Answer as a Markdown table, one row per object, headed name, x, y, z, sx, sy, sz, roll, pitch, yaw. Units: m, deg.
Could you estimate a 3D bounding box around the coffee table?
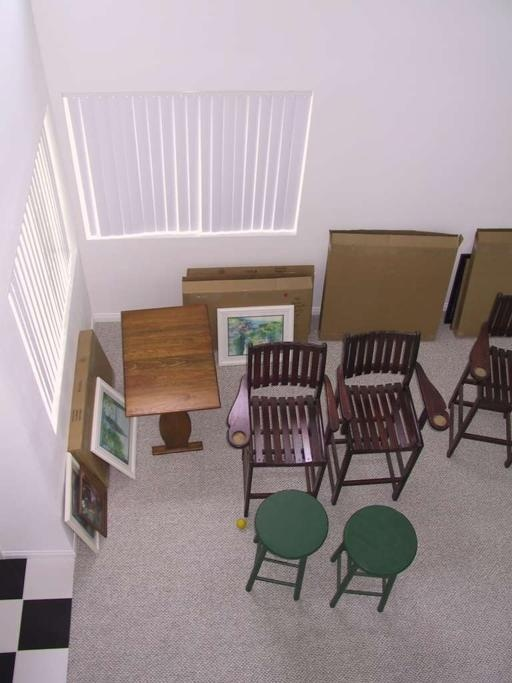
| name | x | y | z | sx | sy | sz | roll | pitch | yaw |
| --- | --- | --- | --- | --- | --- | --- | --- | --- | --- |
| coffee table | -0.562 | 0.152 | 3.277 | 0.760 | 1.018 | 1.142 | -4 | 71 | -8 |
